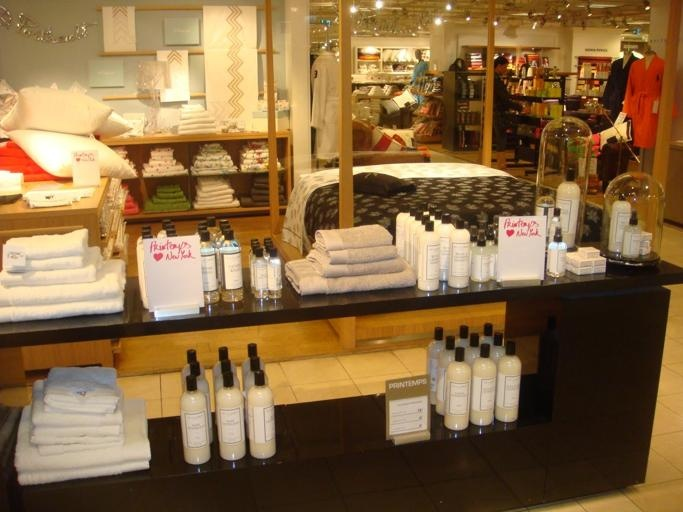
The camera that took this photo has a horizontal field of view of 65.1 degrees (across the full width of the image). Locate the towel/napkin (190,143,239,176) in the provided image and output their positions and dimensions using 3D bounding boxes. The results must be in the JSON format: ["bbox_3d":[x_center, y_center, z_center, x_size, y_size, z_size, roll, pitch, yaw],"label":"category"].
[{"bbox_3d":[-1.730,-1.283,7.182,0.599,0.406,0.385,-2,16,-15],"label":"towel/napkin"}]

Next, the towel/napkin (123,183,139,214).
[{"bbox_3d":[-2.783,-0.730,7.048,0.187,0.326,0.586,-4,16,-21],"label":"towel/napkin"}]

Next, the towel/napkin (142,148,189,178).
[{"bbox_3d":[-2.337,-1.179,6.956,0.430,0.271,0.435,-4,11,-21],"label":"towel/napkin"}]

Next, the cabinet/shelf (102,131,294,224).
[{"bbox_3d":[-2.668,-1.166,8.240,3.793,1.216,1.603,5,17,27],"label":"cabinet/shelf"}]

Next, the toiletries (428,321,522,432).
[{"bbox_3d":[0.552,0.475,2.442,0.430,0.486,0.358,-3,15,-9],"label":"toiletries"}]

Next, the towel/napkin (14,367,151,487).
[{"bbox_3d":[-0.969,0.652,1.973,0.447,0.243,0.443,0,12,-19],"label":"towel/napkin"}]

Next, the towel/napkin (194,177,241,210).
[{"bbox_3d":[-1.708,-0.848,7.212,0.590,0.400,0.296,-1,15,-12],"label":"towel/napkin"}]

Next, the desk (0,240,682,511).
[{"bbox_3d":[0.216,0.793,3.480,3.402,1.275,0.911,-1,18,-9],"label":"desk"}]

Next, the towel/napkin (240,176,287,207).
[{"bbox_3d":[-1.134,-0.849,7.078,0.556,0.256,0.695,-2,15,-7],"label":"towel/napkin"}]

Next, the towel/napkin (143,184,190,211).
[{"bbox_3d":[-2.320,-0.770,7.094,0.555,0.320,0.313,-2,16,-16],"label":"towel/napkin"}]

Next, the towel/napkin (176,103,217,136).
[{"bbox_3d":[-1.872,-1.756,6.934,0.487,0.368,0.168,-2,15,-14],"label":"towel/napkin"}]

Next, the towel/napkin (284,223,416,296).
[{"bbox_3d":[0.038,0.035,2.072,0.321,0.155,0.330,-4,16,-11],"label":"towel/napkin"}]
